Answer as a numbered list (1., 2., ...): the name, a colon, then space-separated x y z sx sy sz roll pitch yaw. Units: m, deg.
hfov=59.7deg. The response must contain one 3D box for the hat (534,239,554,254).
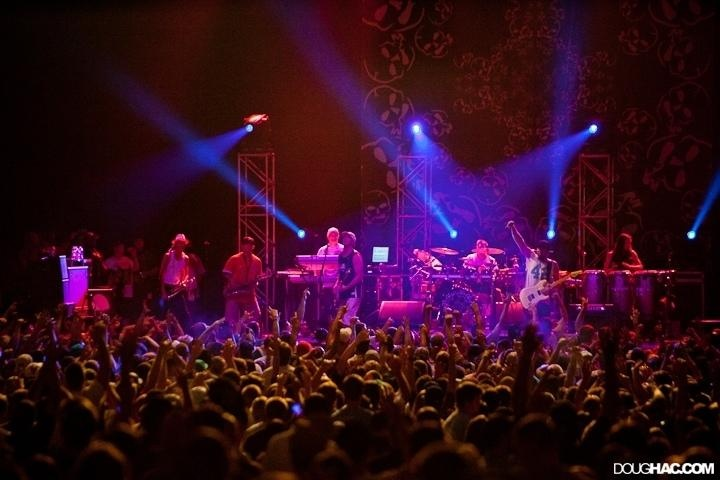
1. hat: 3.396 0.118 11.672 0.366 0.389 0.287 0 -2 -2

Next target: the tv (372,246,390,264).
1. tv: 0.391 0.324 12.322 0.308 0.304 0.079 -2 -18 7

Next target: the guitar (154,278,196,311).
1. guitar: -3.152 0.915 11.059 0.271 0.619 1.059 -10 -1 27

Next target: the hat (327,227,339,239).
1. hat: -0.523 -0.097 11.774 0.181 0.254 0.247 0 16 1

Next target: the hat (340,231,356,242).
1. hat: -0.169 -0.066 10.787 0.186 0.139 0.268 3 -30 42

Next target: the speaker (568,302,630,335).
1. speaker: 3.802 1.249 9.968 0.664 0.454 0.512 -2 -11 17
